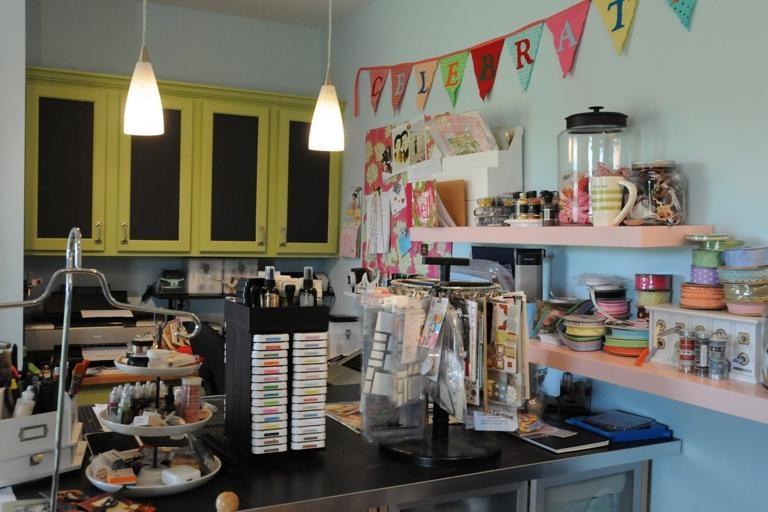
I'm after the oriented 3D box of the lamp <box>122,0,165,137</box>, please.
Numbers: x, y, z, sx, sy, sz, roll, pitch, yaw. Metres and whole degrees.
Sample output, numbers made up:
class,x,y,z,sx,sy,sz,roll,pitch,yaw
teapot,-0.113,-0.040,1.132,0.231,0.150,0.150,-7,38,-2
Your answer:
class,x,y,z,sx,sy,sz,roll,pitch,yaw
lamp,-0.941,-0.659,2.387,0.141,0.366,0.181,-3,3,-22

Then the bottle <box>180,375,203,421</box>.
class,x,y,z,sx,sy,sz,roll,pitch,yaw
bottle,-0.651,0.474,2.067,0.064,0.141,0.164,-2,3,-19

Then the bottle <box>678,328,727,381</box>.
class,x,y,z,sx,sy,sz,roll,pitch,yaw
bottle,1.031,0.320,1.980,0.145,0.148,0.042,0,3,29

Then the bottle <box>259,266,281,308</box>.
class,x,y,z,sx,sy,sz,roll,pitch,yaw
bottle,-0.396,0.102,2.135,0.064,0.136,0.158,-2,3,-10

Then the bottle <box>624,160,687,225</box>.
class,x,y,z,sx,sy,sz,roll,pitch,yaw
bottle,0.968,-0.217,2.164,0.213,0.222,0.239,0,-2,-15

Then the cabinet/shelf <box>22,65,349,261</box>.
class,x,y,z,sx,sy,sz,roll,pitch,yaw
cabinet/shelf,-1.332,-0.573,3.944,1.514,0.787,0.287,0,-1,-24

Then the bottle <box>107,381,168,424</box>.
class,x,y,z,sx,sy,sz,roll,pitch,yaw
bottle,-0.789,0.475,2.034,0.175,0.179,0.130,5,-6,-8

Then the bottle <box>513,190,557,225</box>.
class,x,y,z,sx,sy,sz,roll,pitch,yaw
bottle,0.588,-0.190,2.424,0.063,0.132,0.207,-4,4,-41
